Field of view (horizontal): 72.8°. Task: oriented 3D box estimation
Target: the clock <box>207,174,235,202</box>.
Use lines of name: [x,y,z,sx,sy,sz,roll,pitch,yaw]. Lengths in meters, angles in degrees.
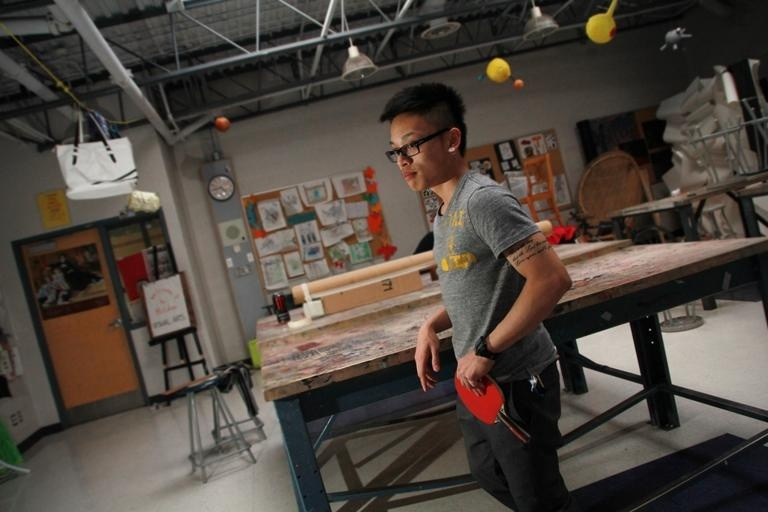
clock: [-2.851,-1.203,9.092,0.480,0.477,0.113,1,3,-14]
